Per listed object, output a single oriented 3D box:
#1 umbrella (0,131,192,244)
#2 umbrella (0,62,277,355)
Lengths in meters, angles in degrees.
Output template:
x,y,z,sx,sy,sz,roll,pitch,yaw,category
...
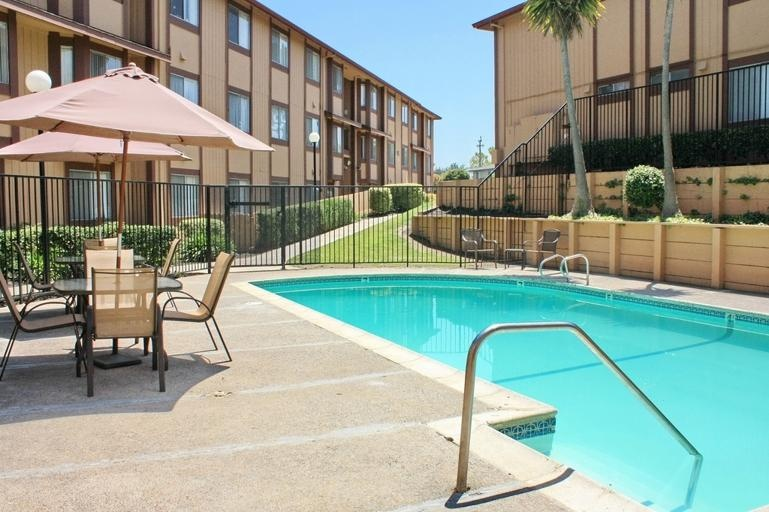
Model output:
x,y,z,sx,sy,sz,roll,pitch,yaw,category
-5.458,-1.672,11.011,2.599,1.822,2.686,2,3,21,umbrella
-3.621,-1.316,8.077,2.816,2.883,2.601,-5,6,-39,umbrella
